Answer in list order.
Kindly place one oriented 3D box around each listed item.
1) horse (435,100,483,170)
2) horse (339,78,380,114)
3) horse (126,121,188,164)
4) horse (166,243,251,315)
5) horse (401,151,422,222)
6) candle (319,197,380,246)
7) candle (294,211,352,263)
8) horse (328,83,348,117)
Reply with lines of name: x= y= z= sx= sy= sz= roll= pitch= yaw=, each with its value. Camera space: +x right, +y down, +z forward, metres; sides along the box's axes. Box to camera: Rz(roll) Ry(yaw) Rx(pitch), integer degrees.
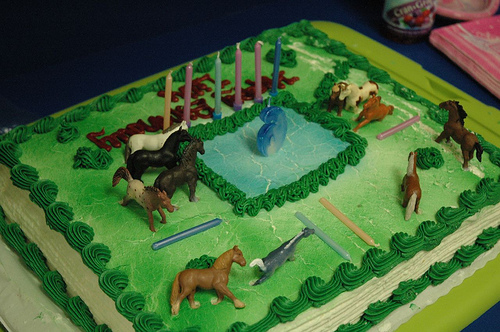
horse: x=3.303 y=-0.540 z=8.504 sx=0.319 sy=0.797 sz=1.054 roll=-17 pitch=47 yaw=-18
horse: x=1.819 y=-1.125 z=8.987 sx=0.656 sy=0.379 sz=0.193 roll=-31 pitch=55 yaw=-24
horse: x=-1.383 y=-0.281 z=8.092 sx=0.948 sy=0.247 sz=0.643 roll=2 pitch=94 yaw=5
horse: x=-0.527 y=1.465 z=6.959 sx=0.794 sy=0.265 sz=0.747 roll=0 pitch=79 yaw=-5
horse: x=2.365 y=0.331 z=7.919 sx=0.222 sy=0.555 sz=0.981 roll=4 pitch=63 yaw=6
candle: x=1.404 y=0.803 z=7.685 sx=0.857 sy=0.095 sz=0.094 roll=42 pitch=107 yaw=13
candle: x=1.010 y=0.995 z=7.483 sx=0.879 sy=0.095 sz=0.098 roll=41 pitch=100 yaw=10
horse: x=1.526 y=-1.108 z=9.122 sx=0.282 sy=0.644 sz=0.503 roll=14 pitch=102 yaw=25
